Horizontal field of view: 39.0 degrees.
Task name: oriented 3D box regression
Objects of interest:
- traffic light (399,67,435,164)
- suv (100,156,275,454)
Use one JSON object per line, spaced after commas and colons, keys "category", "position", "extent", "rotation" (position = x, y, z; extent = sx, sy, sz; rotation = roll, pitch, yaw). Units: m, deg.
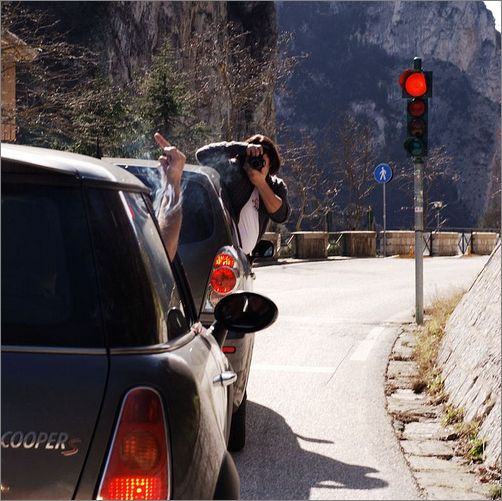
{"category": "traffic light", "position": [2.266, -1.889, 9.761], "extent": [0.419, 1.176, 0.698], "rotation": [2, 7, 16]}
{"category": "suv", "position": [-0.797, 0.169, 4.962], "extent": [1.648, 1.281, 1.010], "rotation": [-7, 10, 12]}
